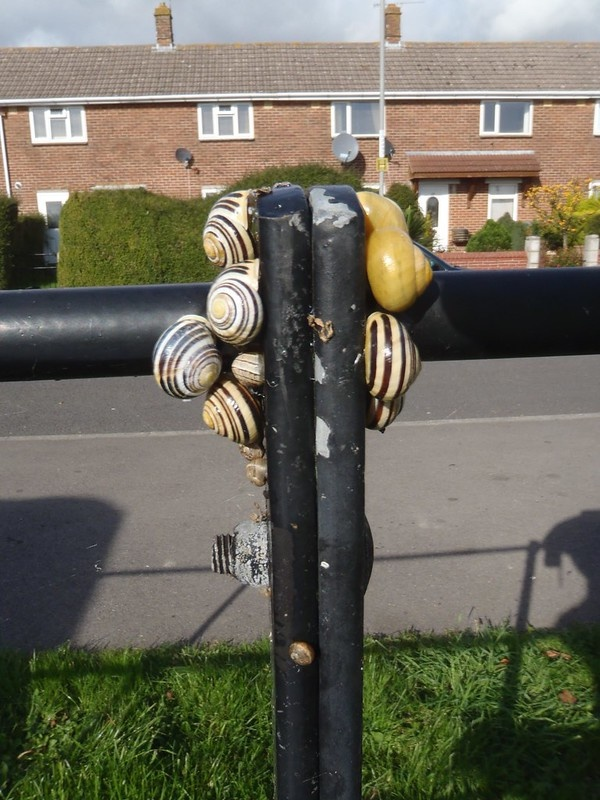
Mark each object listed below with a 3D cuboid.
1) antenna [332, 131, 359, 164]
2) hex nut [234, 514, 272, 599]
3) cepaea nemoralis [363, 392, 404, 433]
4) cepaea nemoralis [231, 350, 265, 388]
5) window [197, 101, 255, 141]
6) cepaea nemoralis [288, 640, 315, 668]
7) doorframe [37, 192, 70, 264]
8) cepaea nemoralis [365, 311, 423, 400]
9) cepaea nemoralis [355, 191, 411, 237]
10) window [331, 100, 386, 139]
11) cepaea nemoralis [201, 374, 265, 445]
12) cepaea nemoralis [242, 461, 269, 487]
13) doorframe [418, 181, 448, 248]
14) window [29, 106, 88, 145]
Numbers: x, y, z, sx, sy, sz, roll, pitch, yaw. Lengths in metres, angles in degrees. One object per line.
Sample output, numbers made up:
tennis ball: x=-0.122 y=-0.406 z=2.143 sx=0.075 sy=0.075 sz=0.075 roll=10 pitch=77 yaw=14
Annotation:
antenna: x=1.237 y=-6.442 z=23.284 sx=0.728 sy=0.831 sz=0.317 roll=6 pitch=9 yaw=12
hex nut: x=-0.064 y=0.212 z=1.286 sx=0.029 sy=0.102 sz=0.106 roll=4 pitch=40 yaw=-24
cepaea nemoralis: x=0.108 y=0.021 z=1.179 sx=0.047 sy=0.048 sz=0.036 roll=0 pitch=50 yaw=-5
cepaea nemoralis: x=-0.061 y=-0.039 z=1.140 sx=0.039 sy=0.043 sz=0.039 roll=-6 pitch=3 yaw=4
window: x=-2.015 y=-7.499 z=24.124 sx=1.165 sy=0.731 sz=0.057 roll=-3 pitch=29 yaw=-4
cepaea nemoralis: x=0.003 y=0.318 z=1.132 sx=0.031 sy=0.029 sz=0.016 roll=-2 pitch=8 yaw=27
doorframe: x=-6.822 y=-4.798 z=24.901 sx=0.834 sy=1.702 sz=0.093 roll=4 pitch=11 yaw=-7
cepaea nemoralis: x=0.119 y=-0.052 z=1.118 sx=0.088 sy=0.093 sz=0.041 roll=3 pitch=0 yaw=-27
cepaea nemoralis: x=0.108 y=-0.248 z=1.189 sx=0.057 sy=0.071 sz=0.034 roll=14 pitch=39 yaw=33
window: x=1.525 y=-7.553 z=24.174 sx=1.574 sy=0.997 sz=0.121 roll=-3 pitch=14 yaw=-10
cepaea nemoralis: x=-0.069 y=0.022 z=1.202 sx=0.046 sy=0.086 sz=0.073 roll=-48 pitch=48 yaw=-5
cepaea nemoralis: x=-0.059 y=0.101 z=1.245 sx=0.030 sy=0.036 sz=0.018 roll=-38 pitch=-18 yaw=27
doorframe: x=3.811 y=-5.258 z=25.752 sx=0.688 sy=1.619 sz=0.127 roll=7 pitch=20 yaw=28
window: x=-6.398 y=-7.374 z=24.080 sx=1.115 sy=0.734 sz=0.103 roll=3 pitch=30 yaw=3
